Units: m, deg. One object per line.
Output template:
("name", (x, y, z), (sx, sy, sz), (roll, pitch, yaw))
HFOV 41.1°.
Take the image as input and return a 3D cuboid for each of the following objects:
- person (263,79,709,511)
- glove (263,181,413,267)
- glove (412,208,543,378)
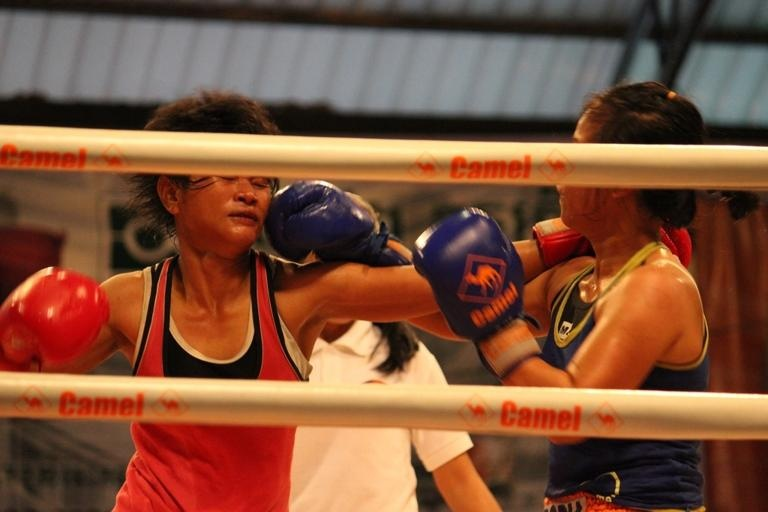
("person", (0.697, 0.171, 4.452), (1.371, 1.858, 0.650), (-2, -12, 16))
("glove", (-0.199, -0.057, 4.559), (0.519, 0.203, 0.369), (19, 10, -46))
("glove", (0.419, 0.154, 4.300), (0.488, 0.648, 0.241), (-31, 4, -7))
